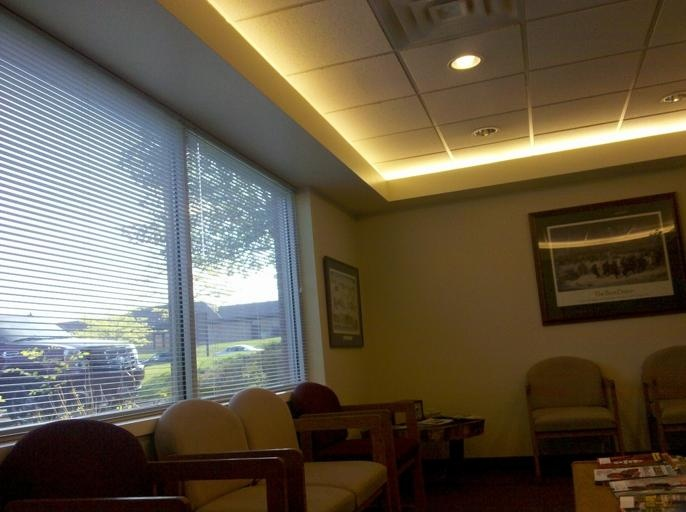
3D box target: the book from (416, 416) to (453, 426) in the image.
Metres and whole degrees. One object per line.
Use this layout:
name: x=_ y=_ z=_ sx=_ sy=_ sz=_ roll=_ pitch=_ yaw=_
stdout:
book: x=0.916 y=1.669 z=5.151 sx=0.216 sy=0.035 sz=0.197 roll=6 pitch=-8 yaw=-31

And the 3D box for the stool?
stool: x=1.030 y=1.884 z=5.086 sx=0.670 sy=0.626 sz=0.844 roll=-4 pitch=-12 yaw=19
